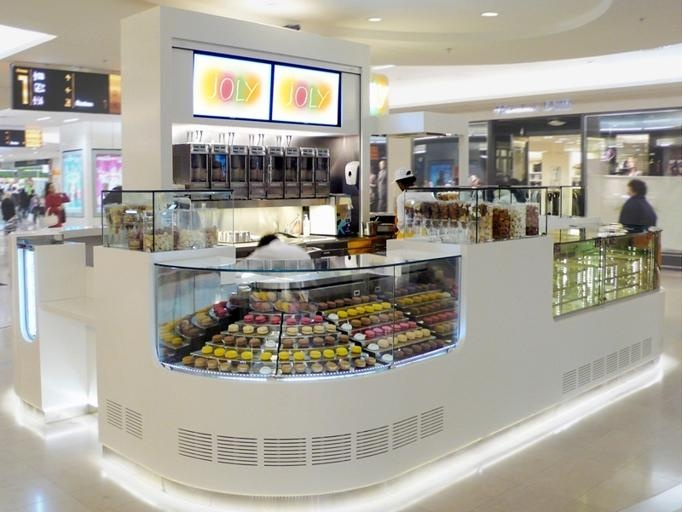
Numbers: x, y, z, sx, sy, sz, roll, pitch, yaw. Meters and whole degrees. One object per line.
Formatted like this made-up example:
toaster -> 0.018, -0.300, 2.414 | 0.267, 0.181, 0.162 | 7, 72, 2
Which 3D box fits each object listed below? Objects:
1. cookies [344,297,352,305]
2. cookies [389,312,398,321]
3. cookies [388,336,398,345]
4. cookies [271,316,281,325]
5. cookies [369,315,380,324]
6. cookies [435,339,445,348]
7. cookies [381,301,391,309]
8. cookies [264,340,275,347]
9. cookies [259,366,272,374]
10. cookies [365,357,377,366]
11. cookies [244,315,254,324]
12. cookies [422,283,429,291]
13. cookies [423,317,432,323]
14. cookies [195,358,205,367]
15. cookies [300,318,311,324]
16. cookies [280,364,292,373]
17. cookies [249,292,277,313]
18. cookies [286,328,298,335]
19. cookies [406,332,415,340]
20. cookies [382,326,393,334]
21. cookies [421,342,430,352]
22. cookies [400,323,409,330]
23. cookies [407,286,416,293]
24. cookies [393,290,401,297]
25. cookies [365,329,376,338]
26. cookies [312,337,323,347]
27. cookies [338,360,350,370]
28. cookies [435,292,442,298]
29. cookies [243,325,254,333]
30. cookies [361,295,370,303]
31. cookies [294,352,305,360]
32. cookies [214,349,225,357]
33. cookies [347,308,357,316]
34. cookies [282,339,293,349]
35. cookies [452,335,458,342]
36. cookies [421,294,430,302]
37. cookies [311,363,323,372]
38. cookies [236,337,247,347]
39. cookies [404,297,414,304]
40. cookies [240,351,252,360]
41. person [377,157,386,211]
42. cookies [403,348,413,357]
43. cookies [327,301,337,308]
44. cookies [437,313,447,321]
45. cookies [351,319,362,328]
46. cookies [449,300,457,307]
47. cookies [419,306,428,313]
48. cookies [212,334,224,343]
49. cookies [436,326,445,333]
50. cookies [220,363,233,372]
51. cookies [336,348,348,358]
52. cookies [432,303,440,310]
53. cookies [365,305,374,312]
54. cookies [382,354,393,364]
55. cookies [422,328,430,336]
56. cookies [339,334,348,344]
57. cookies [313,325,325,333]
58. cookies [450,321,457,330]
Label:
cookies -> 0.045, 0.285, 3.083 | 0.059, 0.051, 0.010 | -2, 8, -13
cookies -> 0.337, 0.389, 3.141 | 0.052, 0.031, 0.051 | 0, -2, -5
cookies -> 0.337, 0.551, 3.188 | 0.056, 0.034, 0.057 | 0, 2, 43
cookies -> -0.411, 0.396, 3.014 | 0.051, 0.026, 0.052 | 9, 16, 33
cookies -> 0.211, 0.406, 3.116 | 0.047, 0.028, 0.047 | 0, 2, 26
cookies -> 0.694, 0.607, 3.411 | 0.063, 0.054, 0.063 | 1, 0, 12
cookies -> 0.287, 0.313, 3.123 | 0.045, 0.022, 0.044 | 1, 4, -16
cookies -> -0.445, 0.544, 3.007 | 0.052, 0.051, 0.012 | 7, -25, -4
cookies -> -0.471, 0.704, 2.994 | 0.051, 0.023, 0.052 | 7, 11, 29
cookies -> 0.187, 0.677, 3.122 | 0.059, 0.024, 0.059 | 2, 7, 13
cookies -> -0.580, 0.389, 3.011 | 0.052, 0.028, 0.051 | -2, 5, -30
cookies -> 0.579, 0.210, 3.324 | 0.049, 0.029, 0.048 | -5, 10, -37
cookies -> 0.600, 0.438, 3.344 | 0.042, 0.026, 0.058 | 0, 2, 1
cookies -> -0.898, 0.671, 3.060 | 0.061, 0.029, 0.060 | -6, 10, -41
cookies -> -0.229, 0.404, 3.035 | 0.039, 0.024, 0.047 | 3, 8, 0
cookies -> -0.345, 0.696, 3.000 | 0.057, 0.021, 0.056 | -8, 15, -36
cookies -> -0.482, 0.278, 2.982 | 0.127, 0.088, 0.130 | 0, 4, -1
cookies -> -0.311, 0.462, 3.023 | 0.053, 0.023, 0.052 | -1, 5, -16
cookies -> 0.462, 0.535, 3.262 | 0.044, 0.026, 0.045 | 3, 5, 40
cookies -> 0.293, 0.475, 3.142 | 0.059, 0.022, 0.063 | -1, 3, 2
cookies -> 0.584, 0.626, 3.348 | 0.060, 0.050, 0.059 | -1, 6, -5
cookies -> 0.418, 0.466, 3.221 | 0.051, 0.035, 0.051 | 2, 4, 3
cookies -> 0.472, 0.220, 3.236 | 0.052, 0.034, 0.052 | 2, 4, 4
cookies -> 0.366, 0.241, 3.158 | 0.048, 0.032, 0.047 | 2, 4, 5
cookies -> 0.184, 0.499, 3.116 | 0.052, 0.018, 0.056 | -6, 14, -33
cookies -> -0.149, 0.536, 3.048 | 0.063, 0.028, 0.063 | 8, 13, 26
cookies -> 0.018, 0.685, 3.063 | 0.068, 0.038, 0.068 | -2, 4, 7
cookies -> 0.678, 0.272, 3.375 | 0.033, 0.024, 0.044 | 2, 6, 17
cookies -> -0.584, 0.455, 3.012 | 0.051, 0.027, 0.050 | -4, 9, -27
cookies -> 0.158, 0.271, 3.107 | 0.050, 0.028, 0.049 | -5, 9, -43
cookies -> -0.263, 0.619, 3.007 | 0.055, 0.033, 0.054 | -6, 12, -35
cookies -> -0.768, 0.601, 3.033 | 0.053, 0.025, 0.052 | -5, 11, -23
cookies -> 0.066, 0.354, 3.092 | 0.049, 0.034, 0.049 | 0, -1, 1
cookies -> -0.340, 0.542, 3.016 | 0.060, 0.034, 0.059 | 0, 3, -4
cookies -> 0.820, 0.592, 3.503 | 0.052, 0.050, 0.028 | -2, 7, -22
cookies -> 0.575, 0.286, 3.311 | 0.046, 0.028, 0.045 | 1, 4, -4
cookies -> -0.154, 0.696, 3.025 | 0.061, 0.027, 0.060 | -3, 10, -23
cookies -> -0.625, 0.530, 3.018 | 0.059, 0.041, 0.058 | -3, 8, -45
cookies -> 0.447, 0.295, 3.219 | 0.051, 0.035, 0.050 | -3, 5, -6
cookies -> -0.587, 0.614, 3.007 | 0.057, 0.032, 0.056 | 0, 11, -20
person -> 1.188, -2.066, 14.056 | 0.278, 1.426, 0.409 | 0, 8, 3
cookies -> 0.446, 0.642, 3.260 | 0.060, 0.031, 0.061 | 11, 14, 42
cookies -> -0.063, 0.304, 3.052 | 0.045, 0.027, 0.046 | 5, 6, 42
cookies -> 0.717, 0.418, 3.411 | 0.047, 0.029, 0.064 | 3, 6, 23
cookies -> 0.095, 0.432, 3.100 | 0.054, 0.032, 0.053 | 2, 3, -13
cookies -> 0.800, 0.332, 3.462 | 0.048, 0.036, 0.051 | 1, 3, 30
cookies -> 0.567, 0.361, 3.309 | 0.048, 0.035, 0.048 | 0, 0, -2
cookies -> -0.780, 0.519, 3.038 | 0.054, 0.038, 0.054 | 0, -1, 0
cookies -> 0.692, 0.511, 3.407 | 0.057, 0.050, 0.031 | 0, -2, -7
cookies -> -0.725, 0.678, 3.013 | 0.060, 0.022, 0.059 | -8, 15, -34
cookies -> 0.002, 0.606, 3.070 | 0.059, 0.042, 0.059 | -1, 1, 22
cookies -> 0.654, 0.346, 3.357 | 0.039, 0.020, 0.062 | -1, 6, -2
cookies -> 0.185, 0.337, 3.111 | 0.060, 0.047, 0.007 | -1, 8, -4
cookies -> 0.301, 0.672, 3.175 | 0.063, 0.017, 0.066 | -13, 18, -43
cookies -> 0.582, 0.520, 3.347 | 0.056, 0.050, 0.030 | 0, 1, -17
cookies -> 0.009, 0.525, 3.079 | 0.054, 0.037, 0.054 | 1, 9, 1
cookies -> -0.144, 0.459, 3.049 | 0.049, 0.026, 0.053 | 3, 8, 28
cookies -> 0.803, 0.495, 3.483 | 0.037, 0.048, 0.068 | 2, 4, 39
